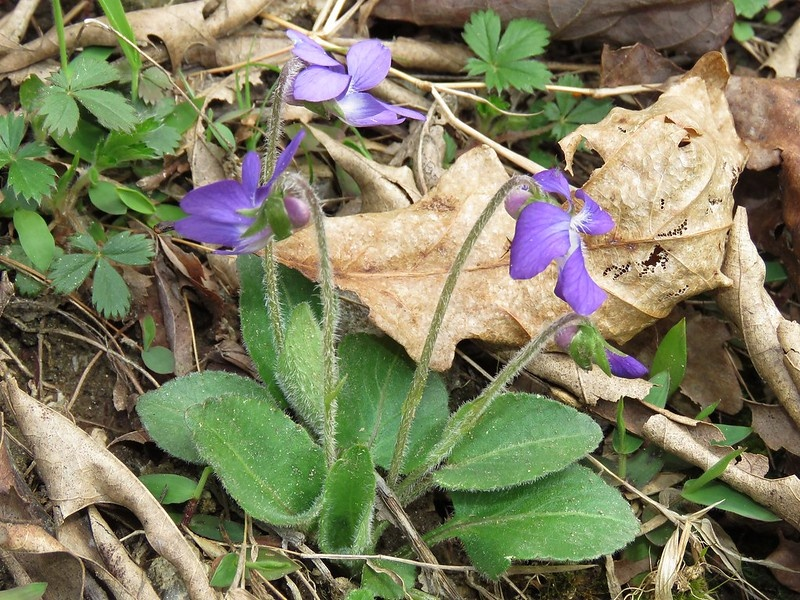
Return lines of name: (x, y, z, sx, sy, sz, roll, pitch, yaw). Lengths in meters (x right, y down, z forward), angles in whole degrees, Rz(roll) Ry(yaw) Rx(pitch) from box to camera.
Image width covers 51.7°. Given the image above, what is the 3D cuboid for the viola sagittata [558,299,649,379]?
viola sagittata: (0.915, 0.263, 3.818, 0.182, 0.146, 0.536, -59, 41, 10)
